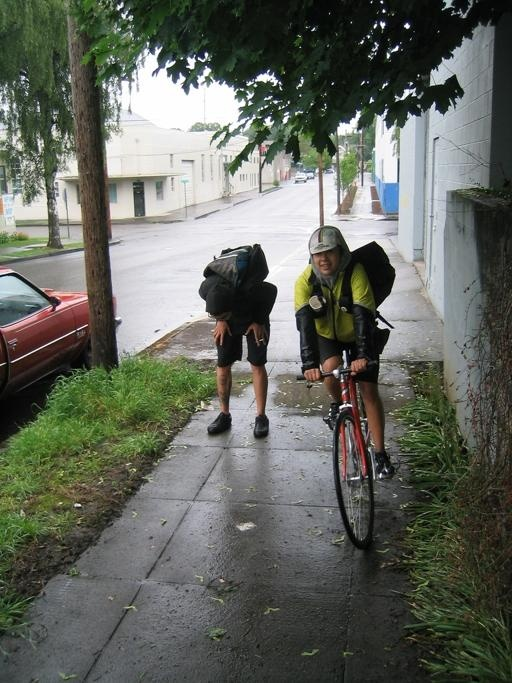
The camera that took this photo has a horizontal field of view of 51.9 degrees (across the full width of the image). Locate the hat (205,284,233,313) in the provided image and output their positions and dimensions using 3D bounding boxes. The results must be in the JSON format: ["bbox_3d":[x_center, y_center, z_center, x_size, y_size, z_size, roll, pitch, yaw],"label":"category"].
[{"bbox_3d":[-0.283,-0.337,4.265,0.189,0.244,0.247,-1,-10,2],"label":"hat"}]

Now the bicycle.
[{"bbox_3d":[0.547,0.607,2.960,0.205,0.951,0.833,-2,7,11],"label":"bicycle"}]

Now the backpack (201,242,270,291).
[{"bbox_3d":[-0.165,-0.674,4.450,0.494,0.204,0.380,6,34,19],"label":"backpack"}]

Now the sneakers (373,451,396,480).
[{"bbox_3d":[0.808,0.793,3.339,0.085,0.098,0.232,-3,0,0],"label":"sneakers"}]

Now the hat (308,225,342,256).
[{"bbox_3d":[0.430,-0.620,3.241,0.208,0.178,0.292,-2,7,10],"label":"hat"}]

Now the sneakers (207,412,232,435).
[{"bbox_3d":[-0.333,0.758,4.758,0.101,0.122,0.289,0,0,23],"label":"sneakers"}]
